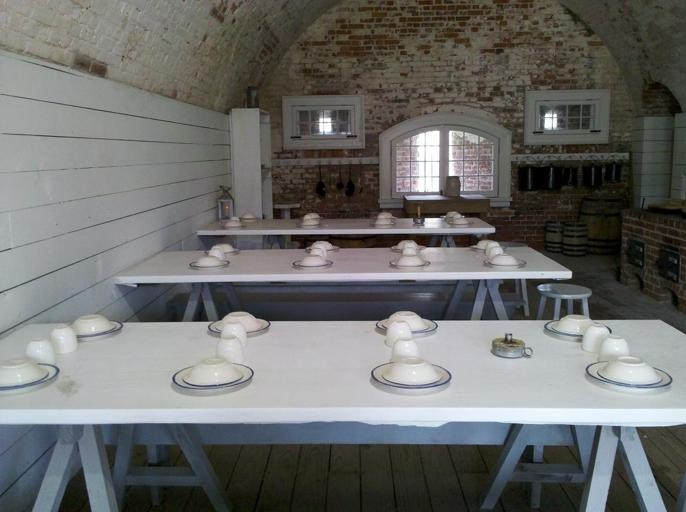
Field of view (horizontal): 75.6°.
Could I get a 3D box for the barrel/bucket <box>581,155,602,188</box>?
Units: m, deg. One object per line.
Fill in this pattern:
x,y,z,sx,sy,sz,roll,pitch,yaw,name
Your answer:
4.969,-1.648,8.521,0.450,0.513,0.395,-9,11,0,barrel/bucket

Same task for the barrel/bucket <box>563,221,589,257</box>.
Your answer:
4.249,-0.289,8.235,0.510,0.589,0.483,-1,5,0,barrel/bucket

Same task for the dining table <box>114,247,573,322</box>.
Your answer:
0.010,0.250,3.751,3.262,0.590,1.307,0,13,1,dining table

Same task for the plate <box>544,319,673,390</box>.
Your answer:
0.969,0.298,1.560,0.182,0.057,0.421,-3,9,-1,plate

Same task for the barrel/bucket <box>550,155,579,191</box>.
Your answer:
4.382,-1.791,8.650,0.472,0.780,0.644,0,42,23,barrel/bucket

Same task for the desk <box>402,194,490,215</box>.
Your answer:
1.857,-0.904,8.104,1.410,0.374,1.043,0,13,4,desk

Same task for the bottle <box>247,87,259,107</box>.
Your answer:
-1.323,-2.310,6.465,0.159,0.304,0.188,-1,15,-1,bottle

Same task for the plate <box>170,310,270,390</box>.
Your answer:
-0.457,0.304,1.548,0.204,0.076,0.475,0,10,-7,plate

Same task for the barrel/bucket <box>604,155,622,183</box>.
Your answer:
5.237,-1.673,8.505,0.416,0.549,0.190,-5,16,-14,barrel/bucket

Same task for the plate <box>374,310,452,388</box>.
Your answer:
0.232,0.346,1.524,0.183,0.072,0.337,-1,8,2,plate

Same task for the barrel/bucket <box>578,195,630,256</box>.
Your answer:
4.866,-0.561,8.431,0.829,0.926,0.760,0,6,0,barrel/bucket

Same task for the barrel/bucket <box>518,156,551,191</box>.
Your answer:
3.737,-1.588,8.540,0.695,0.685,0.310,2,16,11,barrel/bucket
